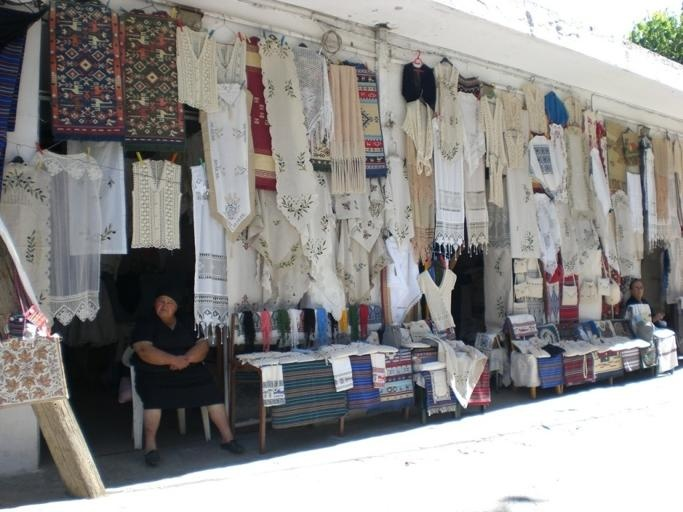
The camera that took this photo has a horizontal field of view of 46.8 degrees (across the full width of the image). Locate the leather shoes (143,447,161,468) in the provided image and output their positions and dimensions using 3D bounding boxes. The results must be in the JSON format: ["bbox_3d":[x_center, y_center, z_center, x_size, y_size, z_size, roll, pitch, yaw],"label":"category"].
[{"bbox_3d":[-1.764,1.851,7.301,0.144,0.112,0.225,-4,12,-19],"label":"leather shoes"}]

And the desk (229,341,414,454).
[{"bbox_3d":[-0.187,1.350,8.083,1.841,0.839,0.585,-6,12,-27],"label":"desk"}]

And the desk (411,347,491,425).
[{"bbox_3d":[1.033,1.400,8.378,0.739,0.852,0.327,0,-3,-22],"label":"desk"}]

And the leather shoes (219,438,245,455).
[{"bbox_3d":[-1.062,1.830,7.612,0.237,0.108,0.097,2,1,35],"label":"leather shoes"}]

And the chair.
[{"bbox_3d":[-1.840,1.407,8.302,0.846,1.323,0.818,-2,1,-8],"label":"chair"}]
